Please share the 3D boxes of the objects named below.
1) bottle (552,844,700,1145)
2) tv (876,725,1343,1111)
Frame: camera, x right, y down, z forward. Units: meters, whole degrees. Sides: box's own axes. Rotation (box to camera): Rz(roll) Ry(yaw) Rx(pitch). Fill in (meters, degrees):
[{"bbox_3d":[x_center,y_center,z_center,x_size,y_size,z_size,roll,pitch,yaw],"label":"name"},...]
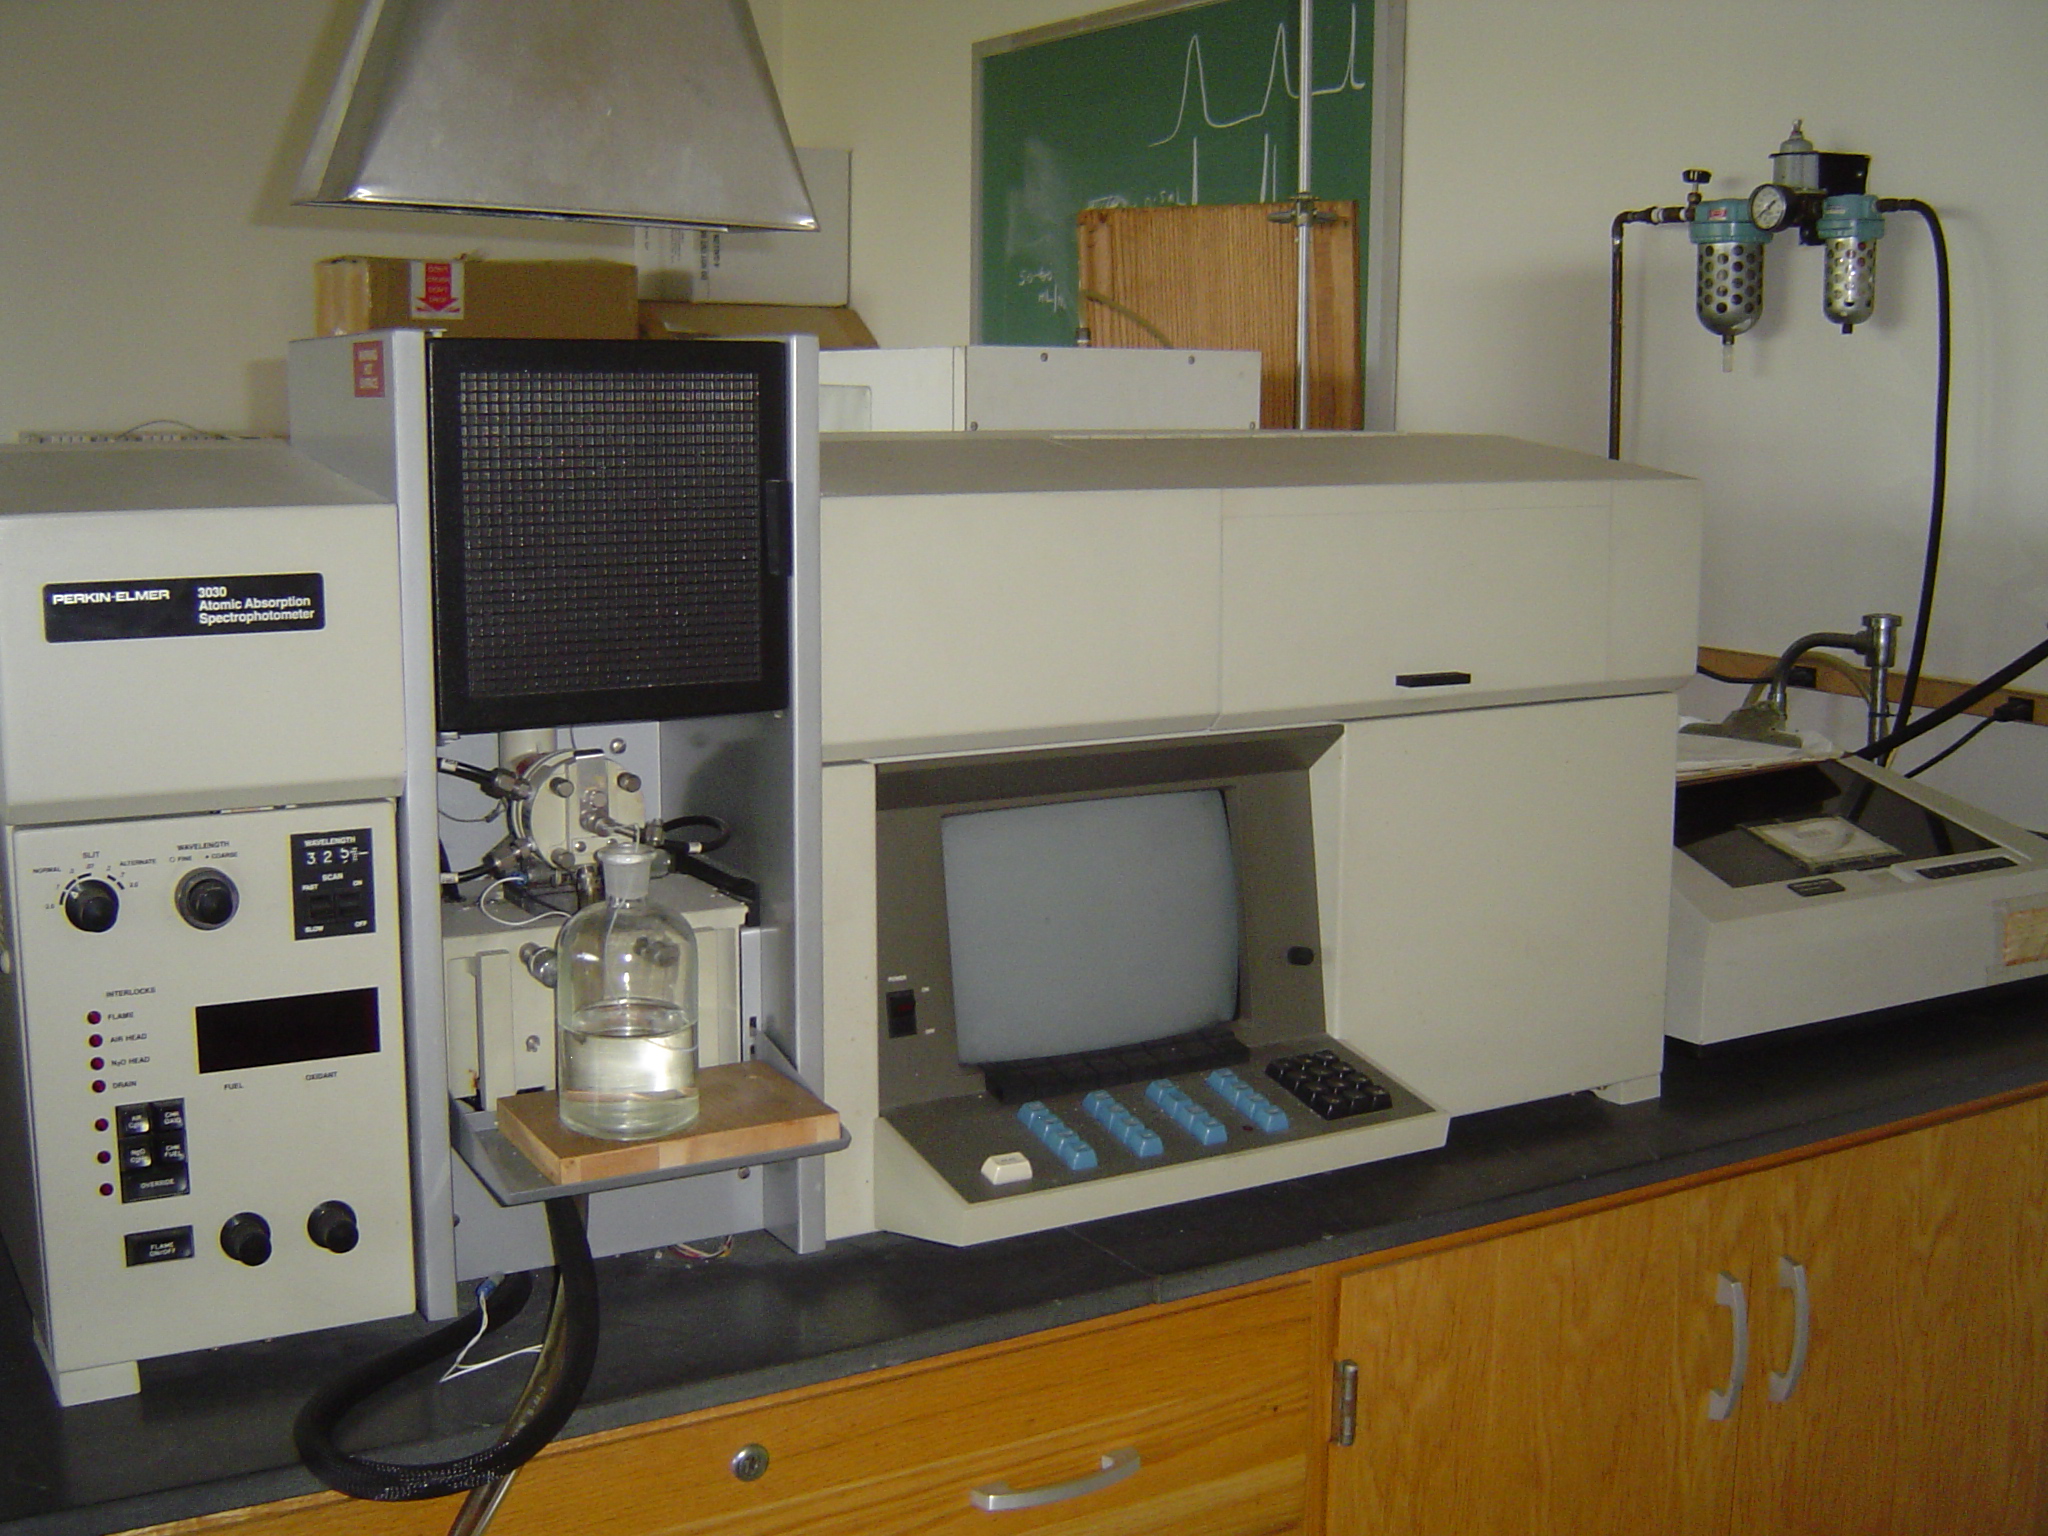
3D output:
[{"bbox_3d":[-0.359,0.219,1.559,0.128,0.201,0.161,-6,7,-11],"label":"bottle"},{"bbox_3d":[0.060,0.159,1.897,0.610,0.475,0.336,-3,0,-25],"label":"tv"}]
